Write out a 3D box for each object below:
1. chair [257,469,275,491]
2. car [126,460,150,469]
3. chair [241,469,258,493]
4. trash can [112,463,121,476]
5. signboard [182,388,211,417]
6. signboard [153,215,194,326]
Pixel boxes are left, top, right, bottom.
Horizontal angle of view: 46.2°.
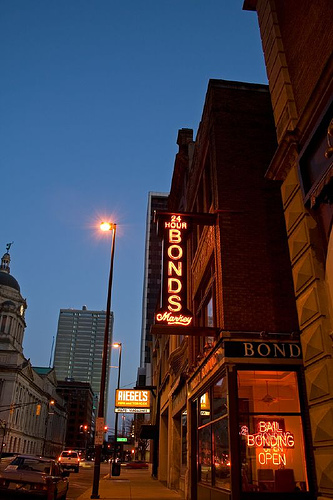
[{"bbox_3d":[2.381,5.556,9.438,0.361,0.483,0.407,-2,-69,5],"label":"chair"},{"bbox_3d":[-3.774,29.429,53.263,2.182,0.797,6.366,2,-28,1],"label":"car"},{"bbox_3d":[1.955,5.527,9.259,0.382,0.623,0.325,-1,-20,6],"label":"chair"},{"bbox_3d":[-4.016,17.238,30.744,0.800,0.985,0.856,3,-13,-5],"label":"trash can"},{"bbox_3d":[1.344,5.476,13.746,0.962,0.367,1.627,10,-42,-3],"label":"signboard"},{"bbox_3d":[0.247,0.588,12.851,1.198,4.115,0.916,2,-25,-1],"label":"signboard"}]
